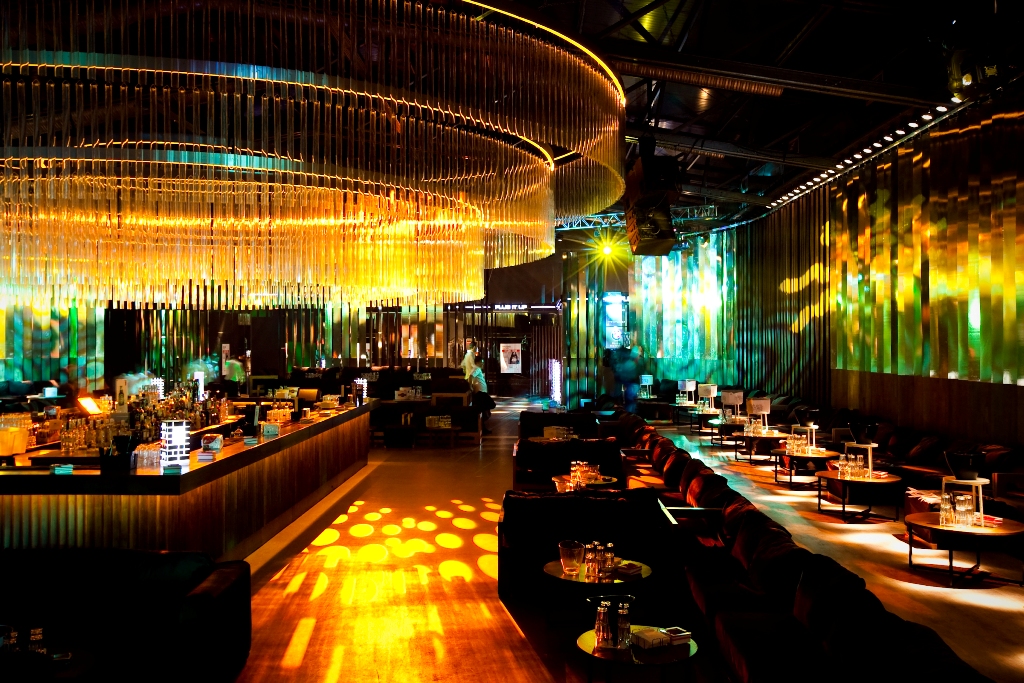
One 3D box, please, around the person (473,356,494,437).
[{"bbox_3d":[-0.613,1.158,18.841,0.608,1.480,0.595,-9,23,-8],"label":"person"}]
